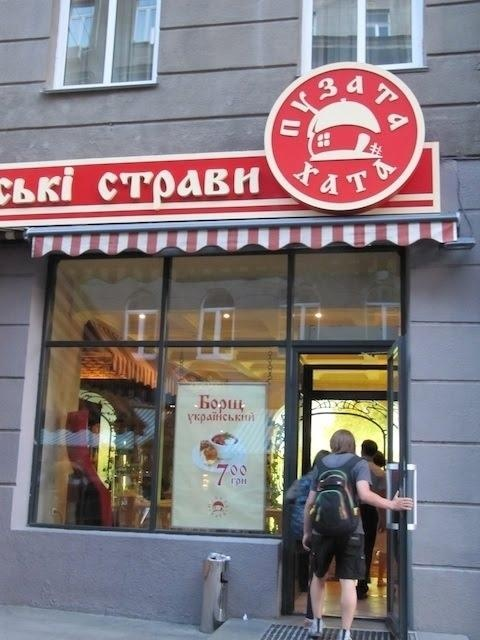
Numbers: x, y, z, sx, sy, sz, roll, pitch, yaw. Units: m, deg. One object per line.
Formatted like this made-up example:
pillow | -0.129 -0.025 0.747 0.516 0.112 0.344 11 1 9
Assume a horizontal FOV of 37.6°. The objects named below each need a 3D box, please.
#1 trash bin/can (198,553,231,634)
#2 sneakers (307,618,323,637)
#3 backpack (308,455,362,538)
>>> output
trash bin/can | -0.211 2.293 5.854 0.199 0.582 0.159 3 -17 -6
sneakers | 0.554 2.334 5.360 0.075 0.085 0.186 2 -10 2
backpack | 0.705 1.320 5.285 0.351 0.597 0.307 -1 -16 9
